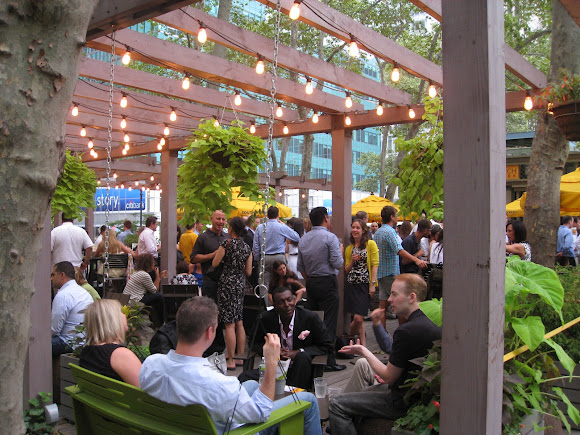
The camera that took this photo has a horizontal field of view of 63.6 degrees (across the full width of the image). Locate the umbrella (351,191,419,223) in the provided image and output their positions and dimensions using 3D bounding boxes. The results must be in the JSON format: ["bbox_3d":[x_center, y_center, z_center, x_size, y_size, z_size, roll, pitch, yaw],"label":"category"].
[{"bbox_3d":[1.956,-0.220,9.965,1.499,0.653,1.529,4,-6,-43],"label":"umbrella"}]

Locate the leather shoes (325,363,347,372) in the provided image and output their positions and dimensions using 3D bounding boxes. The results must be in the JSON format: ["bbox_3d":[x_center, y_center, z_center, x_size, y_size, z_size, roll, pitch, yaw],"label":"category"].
[{"bbox_3d":[0.557,1.851,5.751,0.267,0.097,0.197,-3,-3,13],"label":"leather shoes"}]

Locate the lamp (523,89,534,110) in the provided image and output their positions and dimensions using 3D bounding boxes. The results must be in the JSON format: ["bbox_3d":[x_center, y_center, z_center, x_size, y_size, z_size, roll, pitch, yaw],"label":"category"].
[{"bbox_3d":[3.516,-1.716,6.895,0.127,0.229,0.372,-1,-7,27],"label":"lamp"}]

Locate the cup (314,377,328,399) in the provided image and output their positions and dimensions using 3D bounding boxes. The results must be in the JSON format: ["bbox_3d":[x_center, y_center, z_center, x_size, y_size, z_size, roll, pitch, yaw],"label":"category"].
[{"bbox_3d":[0.233,1.342,3.709,0.149,0.166,0.155,-1,-11,0],"label":"cup"}]
